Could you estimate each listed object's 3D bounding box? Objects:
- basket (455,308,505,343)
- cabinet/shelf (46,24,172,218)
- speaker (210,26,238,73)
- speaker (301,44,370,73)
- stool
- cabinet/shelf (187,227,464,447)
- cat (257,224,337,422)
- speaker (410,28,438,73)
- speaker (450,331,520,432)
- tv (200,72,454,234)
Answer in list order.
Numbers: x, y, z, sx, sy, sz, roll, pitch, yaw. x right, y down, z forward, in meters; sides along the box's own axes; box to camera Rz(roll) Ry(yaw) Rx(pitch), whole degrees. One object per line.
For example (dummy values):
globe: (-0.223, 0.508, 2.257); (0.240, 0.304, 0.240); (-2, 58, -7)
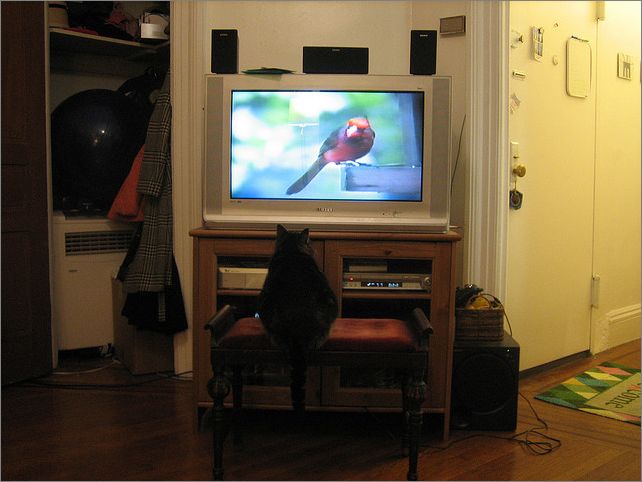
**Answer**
basket: (0.903, 0.475, 3.487); (0.198, 0.126, 0.203); (1, -1, -14)
cabinet/shelf: (-1.526, -0.866, 4.524); (0.898, 1.278, 0.658); (-5, 12, -24)
speaker: (-0.546, -1.086, 3.505); (0.134, 0.254, 0.161); (-9, 14, -37)
speaker: (0.082, -1.031, 3.492); (0.361, 0.143, 0.094); (-2, 12, -7)
stool: (0.006, 0.459, 3.177); (1.153, 0.853, 0.798); (0, 1, 1)
cabinet/shelf: (0.022, 0.482, 3.174); (1.118, 0.913, 0.418); (0, 0, -2)
cat: (-0.076, 0.366, 2.847); (0.314, 0.839, 0.390); (0, -5, 2)
speaker: (0.584, -1.081, 3.509); (0.146, 0.268, 0.289); (1, 12, 8)
speaker: (0.899, 0.813, 3.587); (0.415, 0.615, 0.456); (0, 0, 6)
tv: (0.028, -0.531, 3.700); (1.475, 1.042, 0.826); (1, 2, 2)
